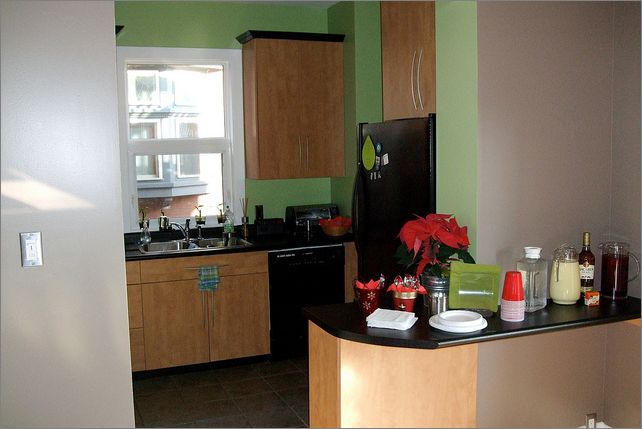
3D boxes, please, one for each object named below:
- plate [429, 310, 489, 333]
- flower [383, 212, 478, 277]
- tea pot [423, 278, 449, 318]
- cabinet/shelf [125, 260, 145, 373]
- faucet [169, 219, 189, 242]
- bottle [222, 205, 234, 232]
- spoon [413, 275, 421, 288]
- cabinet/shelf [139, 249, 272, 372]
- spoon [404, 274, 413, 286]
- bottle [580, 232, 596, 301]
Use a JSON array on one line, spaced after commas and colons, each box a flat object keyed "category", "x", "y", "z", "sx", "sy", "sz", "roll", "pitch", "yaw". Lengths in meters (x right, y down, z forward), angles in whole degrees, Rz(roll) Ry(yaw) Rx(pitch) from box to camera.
[{"category": "plate", "x": 0.785, "y": 0.605, "z": 2.839, "sx": 0.332, "sy": 0.068, "sz": 0.183, "roll": 0, "pitch": 13, "yaw": 3}, {"category": "flower", "x": 0.698, "y": 0.154, "z": 3.070, "sx": 0.410, "sy": 0.288, "sz": 0.409, "roll": -3, "pitch": 5, "yaw": -12}, {"category": "tea pot", "x": 0.710, "y": 0.493, "z": 3.101, "sx": 0.195, "sy": 0.208, "sz": 0.214, "roll": 10, "pitch": -13, "yaw": 2}, {"category": "cabinet/shelf", "x": -1.624, "y": 0.897, "z": 4.398, "sx": 0.151, "sy": 1.009, "sz": 0.110, "roll": -6, "pitch": 14, "yaw": -20}, {"category": "faucet", "x": -1.423, "y": 0.151, "z": 5.053, "sx": 0.198, "sy": 0.213, "sz": 0.284, "roll": -4, "pitch": 13, "yaw": -14}, {"category": "bottle", "x": -0.957, "y": 0.060, "z": 5.195, "sx": 0.104, "sy": 0.253, "sz": 0.252, "roll": -3, "pitch": 13, "yaw": -10}, {"category": "spoon", "x": 0.575, "y": 0.405, "z": 3.041, "sx": 0.037, "sy": 0.069, "sz": 0.018, "roll": 6, "pitch": -15, "yaw": 1}, {"category": "cabinet/shelf", "x": -1.094, "y": 0.844, "z": 4.564, "sx": 1.100, "sy": 0.911, "sz": 0.425, "roll": -1, "pitch": 2, "yaw": -22}, {"category": "spoon", "x": 0.529, "y": 0.391, "z": 3.013, "sx": 0.066, "sy": 0.067, "sz": 0.053, "roll": -3, "pitch": 13, "yaw": -10}, {"category": "bottle", "x": 1.700, "y": 0.319, "z": 3.205, "sx": 0.098, "sy": 0.412, "sz": 0.260, "roll": 6, "pitch": 15, "yaw": 28}]
